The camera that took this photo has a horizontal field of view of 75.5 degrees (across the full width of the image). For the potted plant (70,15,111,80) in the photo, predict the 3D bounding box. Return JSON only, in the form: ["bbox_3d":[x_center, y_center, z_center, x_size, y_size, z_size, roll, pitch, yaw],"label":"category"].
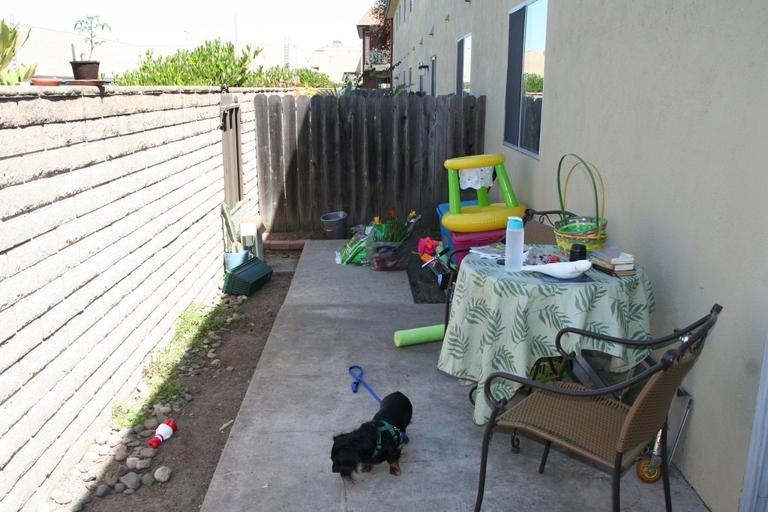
[{"bbox_3d":[-2.277,-1.565,3.824,0.307,0.499,0.251,5,2,40],"label":"potted plant"}]

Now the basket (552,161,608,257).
[{"bbox_3d":[1.405,-0.376,3.654,0.367,0.710,0.370,0,20,35],"label":"basket"}]

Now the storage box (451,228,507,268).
[{"bbox_3d":[1.009,-0.126,5.283,0.491,0.322,0.392,-5,12,-6],"label":"storage box"}]

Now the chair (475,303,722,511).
[{"bbox_3d":[1.125,0.829,2.832,1.205,1.292,1.001,1,15,1],"label":"chair"}]

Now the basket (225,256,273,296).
[{"bbox_3d":[-1.708,0.253,6.204,0.391,0.340,0.583,7,15,21],"label":"basket"}]

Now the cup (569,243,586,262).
[{"bbox_3d":[1.317,-0.024,3.365,0.102,0.148,0.105,0,7,0],"label":"cup"}]

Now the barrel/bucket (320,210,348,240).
[{"bbox_3d":[-0.772,-0.499,7.799,0.401,0.325,0.424,0,9,0],"label":"barrel/bucket"}]

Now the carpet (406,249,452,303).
[{"bbox_3d":[0.456,0.308,5.855,0.491,0.137,0.565,14,45,-13],"label":"carpet"}]

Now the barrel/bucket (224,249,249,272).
[{"bbox_3d":[-1.902,0.061,6.361,0.257,0.269,0.254,-1,1,0],"label":"barrel/bucket"}]

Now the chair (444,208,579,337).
[{"bbox_3d":[1.202,0.045,5.040,1.225,1.980,0.989,2,7,5],"label":"chair"}]

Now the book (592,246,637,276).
[{"bbox_3d":[1.531,0.035,3.266,0.208,0.080,0.199,0,14,-12],"label":"book"}]
